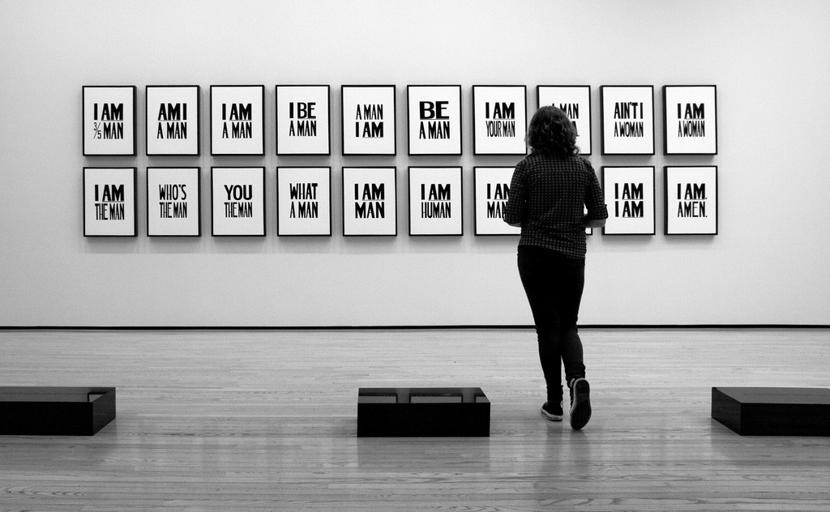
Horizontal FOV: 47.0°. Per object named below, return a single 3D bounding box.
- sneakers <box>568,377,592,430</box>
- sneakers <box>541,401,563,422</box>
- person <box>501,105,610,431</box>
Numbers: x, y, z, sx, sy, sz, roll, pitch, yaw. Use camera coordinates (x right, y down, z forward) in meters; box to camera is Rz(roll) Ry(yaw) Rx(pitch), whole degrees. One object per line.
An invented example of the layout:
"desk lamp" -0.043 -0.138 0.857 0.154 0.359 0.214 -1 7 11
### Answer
"sneakers" 1.576 1.411 9.096 0.188 0.490 0.208 0 1 -8
"sneakers" 1.336 1.523 9.237 0.106 0.197 0.261 1 3 -4
"person" 1.385 0.084 9.305 0.838 3.084 0.672 2 7 34
